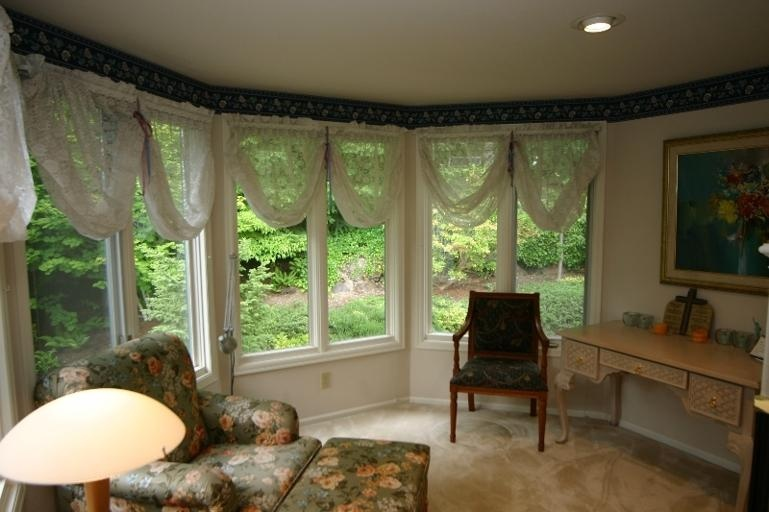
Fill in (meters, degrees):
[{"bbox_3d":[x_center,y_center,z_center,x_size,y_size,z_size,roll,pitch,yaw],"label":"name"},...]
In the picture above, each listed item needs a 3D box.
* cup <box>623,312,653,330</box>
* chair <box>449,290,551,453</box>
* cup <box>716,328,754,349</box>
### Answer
[{"bbox_3d":[2.084,0.543,4.883,0.188,0.088,0.122,-1,-2,42],"label":"cup"},{"bbox_3d":[0.993,0.932,5.130,0.821,1.229,0.855,0,4,15],"label":"chair"},{"bbox_3d":[2.577,0.603,4.359,0.134,0.071,0.178,-1,1,-41],"label":"cup"}]
